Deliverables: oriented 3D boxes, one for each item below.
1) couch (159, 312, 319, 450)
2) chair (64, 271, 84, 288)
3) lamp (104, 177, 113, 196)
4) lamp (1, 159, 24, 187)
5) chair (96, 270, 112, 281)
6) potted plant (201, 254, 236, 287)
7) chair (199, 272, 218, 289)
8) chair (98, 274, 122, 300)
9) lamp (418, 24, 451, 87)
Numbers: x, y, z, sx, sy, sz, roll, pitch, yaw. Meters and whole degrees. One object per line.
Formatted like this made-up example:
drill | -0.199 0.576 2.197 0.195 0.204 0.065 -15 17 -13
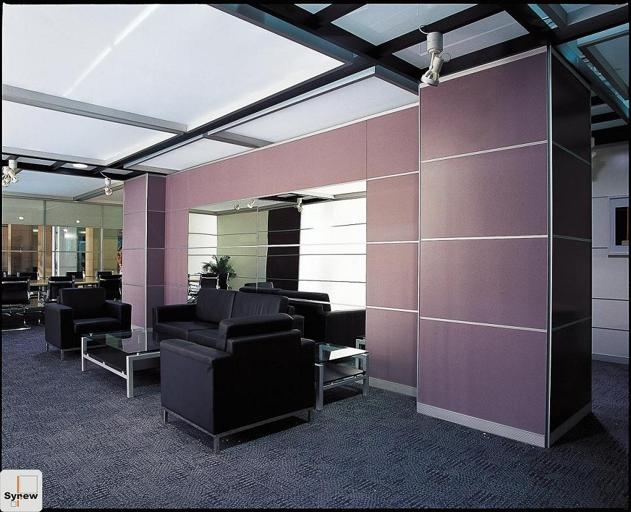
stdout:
couch | -0.791 1.111 4.384 1.225 0.965 1.092 3 -3 -42
chair | -6.244 0.613 11.245 0.406 0.542 0.421 1 -3 -41
lamp | -4.659 -1.534 9.782 0.161 0.360 2.323 -1 4 -24
lamp | -5.582 -1.546 7.991 0.268 0.405 0.908 -2 4 -34
chair | -5.378 0.496 11.054 0.260 0.367 0.282 3 4 -32
potted plant | -1.703 0.242 7.728 0.571 0.631 0.615 3 1 29
chair | -1.949 0.448 7.886 0.299 0.388 0.296 3 3 33
chair | -4.604 0.704 9.744 0.454 0.600 0.630 0 1 15
lamp | 1.103 -1.808 4.062 0.257 0.474 0.601 1 4 16
